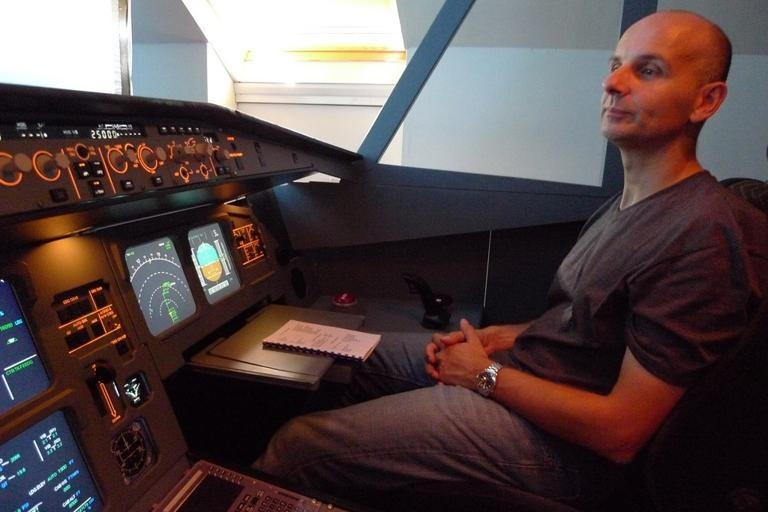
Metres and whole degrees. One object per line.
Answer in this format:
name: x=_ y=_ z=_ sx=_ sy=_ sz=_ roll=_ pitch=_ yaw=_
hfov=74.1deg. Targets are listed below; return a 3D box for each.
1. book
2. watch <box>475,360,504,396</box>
book: x=-0.193 y=0.266 z=1.599 sx=0.227 sy=0.038 sz=0.162 roll=7 pitch=20 yaw=14
watch: x=0.310 y=0.363 z=1.470 sx=0.062 sy=0.100 sz=0.101 roll=11 pitch=-6 yaw=32
